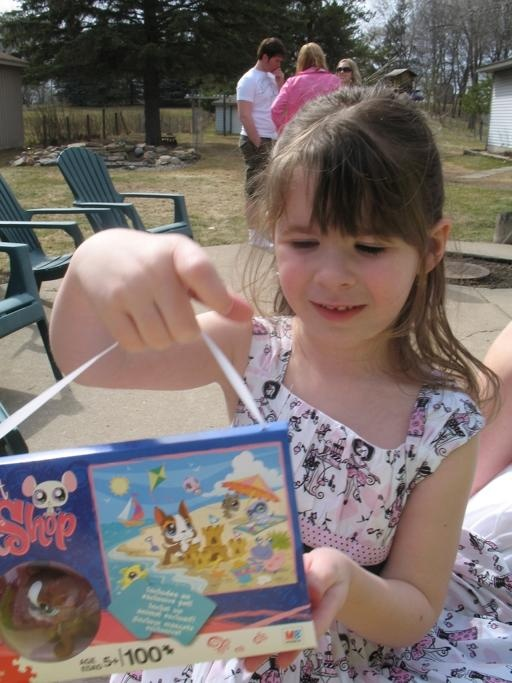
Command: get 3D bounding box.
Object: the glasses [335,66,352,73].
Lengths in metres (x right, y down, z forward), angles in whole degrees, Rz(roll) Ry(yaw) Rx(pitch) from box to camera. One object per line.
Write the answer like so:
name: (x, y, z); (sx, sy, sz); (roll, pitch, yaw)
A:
glasses: (0.808, -2.464, 5.549); (0.134, 0.039, 0.125); (-29, 39, -31)
